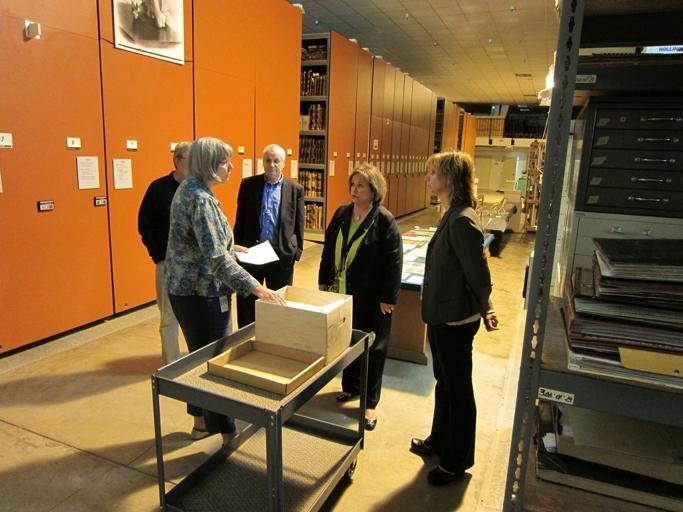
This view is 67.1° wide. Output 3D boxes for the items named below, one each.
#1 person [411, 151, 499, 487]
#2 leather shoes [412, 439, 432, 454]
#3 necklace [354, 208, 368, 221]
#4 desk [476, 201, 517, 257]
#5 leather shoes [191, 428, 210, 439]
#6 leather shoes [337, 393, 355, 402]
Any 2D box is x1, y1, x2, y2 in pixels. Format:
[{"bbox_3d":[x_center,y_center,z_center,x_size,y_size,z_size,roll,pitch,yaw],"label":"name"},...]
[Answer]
[{"bbox_3d":[0.672,0.375,3.088,0.468,1.961,0.447,-1,11,1],"label":"person"},{"bbox_3d":[0.534,1.246,3.384,0.120,0.050,0.072,6,17,9],"label":"leather shoes"},{"bbox_3d":[0.130,-0.296,3.630,0.083,0.085,0.022,-5,-7,41],"label":"necklace"},{"bbox_3d":[2.581,-0.444,8.389,0.567,0.354,1.173,4,31,18],"label":"desk"},{"bbox_3d":[-0.948,1.191,3.452,0.058,0.049,0.124,8,8,25],"label":"leather shoes"},{"bbox_3d":[0.038,1.078,3.966,0.144,0.060,0.053,1,2,-40],"label":"leather shoes"}]
